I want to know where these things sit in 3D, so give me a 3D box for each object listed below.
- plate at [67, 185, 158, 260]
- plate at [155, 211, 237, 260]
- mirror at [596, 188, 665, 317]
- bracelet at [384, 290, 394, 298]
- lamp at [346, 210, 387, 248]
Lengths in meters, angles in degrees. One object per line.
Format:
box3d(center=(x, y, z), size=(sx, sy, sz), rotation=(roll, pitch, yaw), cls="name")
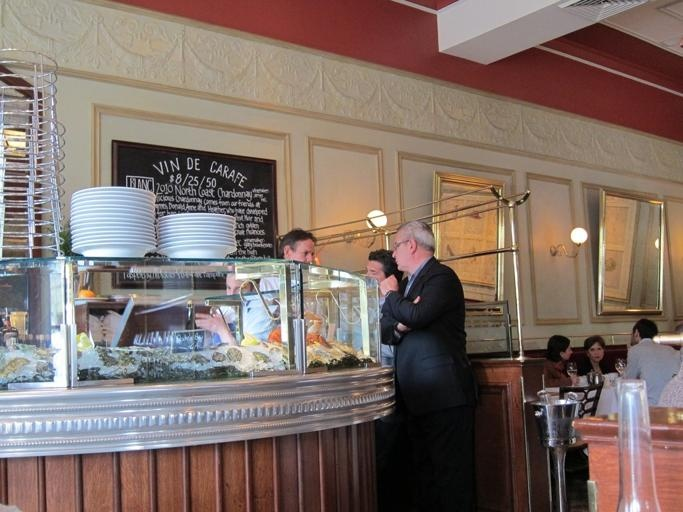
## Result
box3d(center=(-0.836, -0.114, 2.284), size=(0.276, 0.197, 0.273), rotation=(1, -5, -17), cls="plate")
box3d(center=(-0.546, -0.069, 2.402), size=(0.202, 0.096, 0.207), rotation=(-5, -7, 43), cls="plate")
box3d(center=(3.798, -0.002, 8.336), size=(1.519, 1.575, 0.116), rotation=(14, -9, -35), cls="mirror")
box3d(center=(0.263, 0.214, 3.523), size=(0.037, 0.027, 0.036), rotation=(4, -16, -21), cls="bracelet")
box3d(center=(0.216, -0.267, 5.835), size=(0.462, 0.207, 0.191), rotation=(-23, 17, 25), cls="lamp")
